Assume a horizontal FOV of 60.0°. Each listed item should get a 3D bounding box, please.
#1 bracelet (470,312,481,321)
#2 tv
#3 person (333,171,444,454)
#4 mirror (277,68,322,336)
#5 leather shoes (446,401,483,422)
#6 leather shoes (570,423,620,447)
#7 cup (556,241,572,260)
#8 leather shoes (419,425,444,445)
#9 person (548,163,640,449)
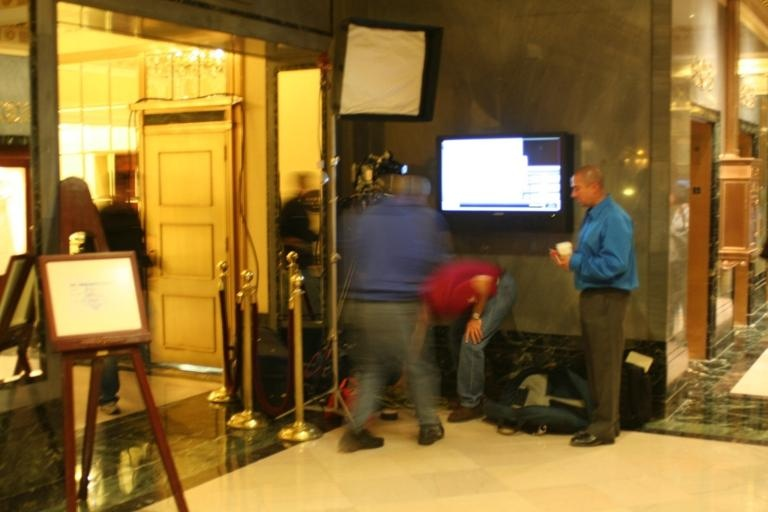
[{"bbox_3d":[0.756,0.502,5.492,0.077,0.045,0.074,10,-3,-41],"label":"bracelet"},{"bbox_3d":[1.117,-0.650,5.848,1.024,0.648,0.103,2,7,19],"label":"tv"},{"bbox_3d":[0.084,0.422,5.169,0.765,2.050,0.673,-2,11,-12],"label":"person"},{"bbox_3d":[-0.726,-0.555,5.818,0.547,2.309,0.074,-1,0,-27],"label":"mirror"},{"bbox_3d":[0.690,1.348,5.726,0.367,0.200,0.125,1,0,-10],"label":"leather shoes"},{"bbox_3d":[1.629,1.406,5.203,0.293,0.109,0.145,6,-1,1],"label":"leather shoes"},{"bbox_3d":[1.397,-0.038,5.134,0.157,0.145,0.148,-3,1,0],"label":"cup"},{"bbox_3d":[0.357,1.394,5.153,0.217,0.132,0.109,10,-10,-41],"label":"leather shoes"},{"bbox_3d":[1.637,0.383,5.183,0.592,2.129,0.515,-8,14,-35],"label":"person"}]
